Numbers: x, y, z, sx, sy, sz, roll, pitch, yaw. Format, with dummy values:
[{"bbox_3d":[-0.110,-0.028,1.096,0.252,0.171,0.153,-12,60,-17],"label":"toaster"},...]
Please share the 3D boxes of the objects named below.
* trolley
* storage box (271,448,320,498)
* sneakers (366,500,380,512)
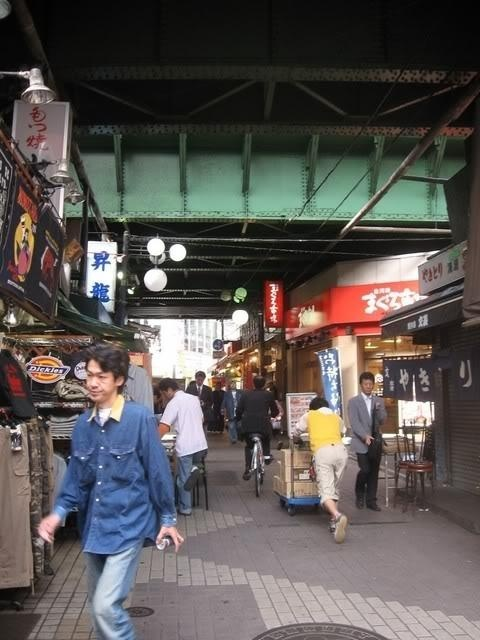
[{"bbox_3d":[0.686,2.358,7.560,0.794,1.139,0.889,16,-20,-37],"label":"trolley"},{"bbox_3d":[0.813,2.336,7.638,0.634,0.904,0.928,1,-4,-7],"label":"storage box"},{"bbox_3d":[2.016,2.798,7.445,0.167,0.123,0.311,1,-11,-4],"label":"sneakers"}]
